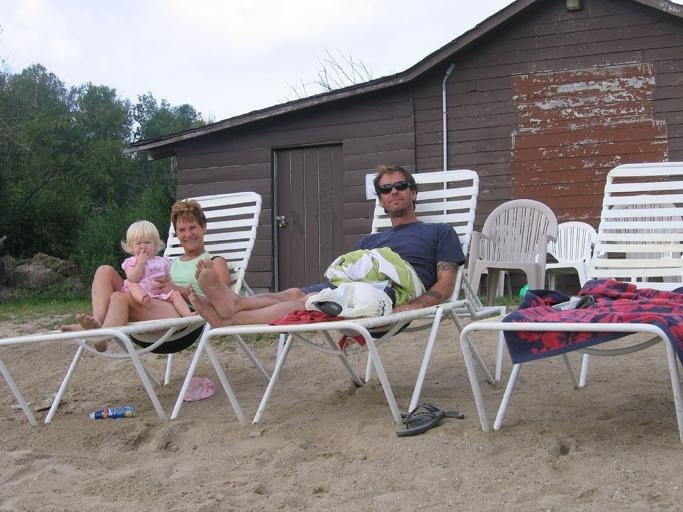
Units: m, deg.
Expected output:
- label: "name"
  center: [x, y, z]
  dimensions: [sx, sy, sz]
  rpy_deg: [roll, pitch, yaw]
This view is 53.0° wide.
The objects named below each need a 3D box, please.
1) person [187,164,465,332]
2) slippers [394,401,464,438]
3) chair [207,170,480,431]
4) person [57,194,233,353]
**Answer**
- label: "person"
  center: [-0.263, -0.044, 4.787]
  dimensions: [2.039, 1.044, 0.969]
  rpy_deg: [-3, -3, -33]
- label: "slippers"
  center: [0.510, 0.957, 4.003]
  dimensions: [0.264, 0.069, 0.182]
  rpy_deg: [-9, 2, -18]
- label: "chair"
  center: [0.024, 0.204, 5.055]
  dimensions: [1.174, 1.649, 2.421]
  rpy_deg: [-3, -3, 29]
- label: "person"
  center: [-1.449, 0.102, 4.919]
  dimensions: [0.991, 1.073, 1.779]
  rpy_deg: [4, 2, 12]
